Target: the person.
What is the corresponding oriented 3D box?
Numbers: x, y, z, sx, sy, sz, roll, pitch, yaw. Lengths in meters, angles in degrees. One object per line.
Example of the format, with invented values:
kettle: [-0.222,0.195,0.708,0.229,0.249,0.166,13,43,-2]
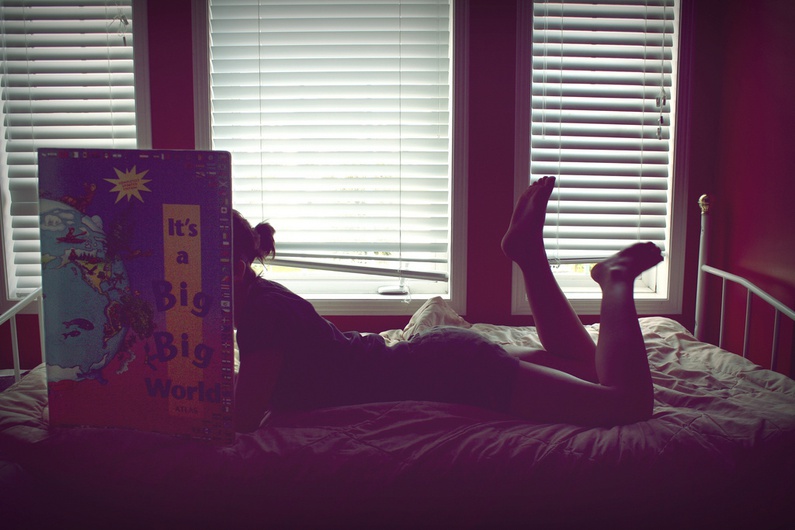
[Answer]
person: [0.126,0.160,2.423,1.788,0.853,0.723,0,4,-17]
